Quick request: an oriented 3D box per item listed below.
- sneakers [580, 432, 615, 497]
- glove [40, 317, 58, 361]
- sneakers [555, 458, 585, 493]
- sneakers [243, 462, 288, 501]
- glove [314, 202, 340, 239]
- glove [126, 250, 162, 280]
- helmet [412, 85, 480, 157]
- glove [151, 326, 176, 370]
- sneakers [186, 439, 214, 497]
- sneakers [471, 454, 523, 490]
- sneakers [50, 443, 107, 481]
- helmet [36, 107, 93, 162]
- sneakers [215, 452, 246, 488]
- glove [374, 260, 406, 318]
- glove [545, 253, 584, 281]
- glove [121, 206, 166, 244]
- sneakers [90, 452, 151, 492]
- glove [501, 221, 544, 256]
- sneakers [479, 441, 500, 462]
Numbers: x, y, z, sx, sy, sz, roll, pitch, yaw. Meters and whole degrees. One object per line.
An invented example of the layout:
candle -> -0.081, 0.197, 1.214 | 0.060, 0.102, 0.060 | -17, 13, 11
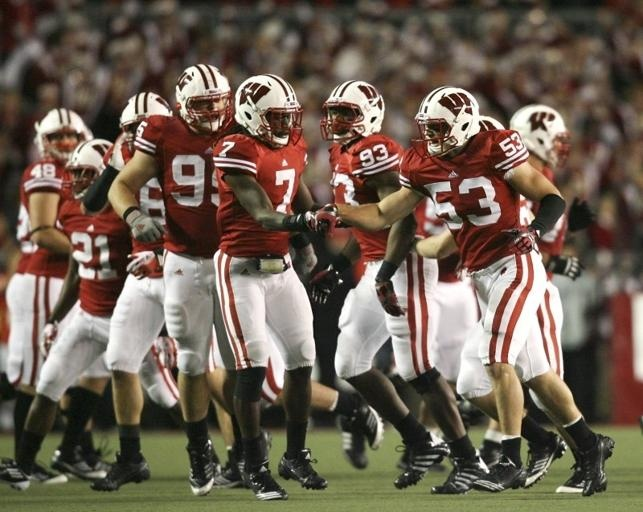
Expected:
sneakers -> 1.782, 1.360, 6.004 | 0.210, 0.453, 0.156 | 16, -18, -8
glove -> -1.934, 0.573, 6.580 | 0.161, 0.240, 0.075 | -5, -12, 44
sneakers -> 1.639, 1.471, 6.039 | 0.252, 0.190, 0.108 | -11, -20, 42
sneakers -> -0.391, 1.416, 5.862 | 0.134, 0.179, 0.402 | -2, 5, -35
glove -> 0.034, -0.227, 5.669 | 0.141, 0.264, 0.327 | -1, -11, 0
glove -> -1.171, 0.041, 6.066 | 0.240, 0.219, 0.203 | 7, -14, -34
helmet -> 0.783, -0.883, 5.988 | 0.451, 0.411, 0.357 | -22, 13, -17
glove -> -1.106, 0.656, 6.487 | 0.194, 0.279, 0.076 | -5, -2, -26
sneakers -> -0.793, 1.397, 6.033 | 0.125, 0.407, 0.175 | -8, -10, 12
sneakers -> 1.150, 1.388, 5.854 | 0.413, 0.228, 0.144 | -2, 7, -29
sneakers -> -1.798, 1.520, 6.760 | 0.383, 0.198, 0.141 | 22, 1, -9
helmet -> -2.119, -0.957, 7.286 | 0.439, 0.400, 0.364 | -21, -14, 40
sneakers -> -0.639, 1.469, 6.306 | 0.190, 0.228, 0.397 | 5, -13, -29
glove -> 0.470, 0.220, 6.198 | 0.164, 0.366, 0.221 | -10, -14, 38
glove -> 1.830, 0.079, 6.974 | 0.361, 0.161, 0.142 | 3, -12, -18
glove -> -1.111, -0.189, 5.722 | 0.262, 0.192, 0.125 | 33, -4, 38
sneakers -> -1.315, 1.426, 6.131 | 0.464, 0.263, 0.156 | -8, 4, -35
glove -> 1.235, -0.106, 5.739 | 0.142, 0.095, 0.201 | -10, 9, -11
sneakers -> 1.222, 1.415, 6.648 | 0.241, 0.108, 0.080 | 9, -22, -38
